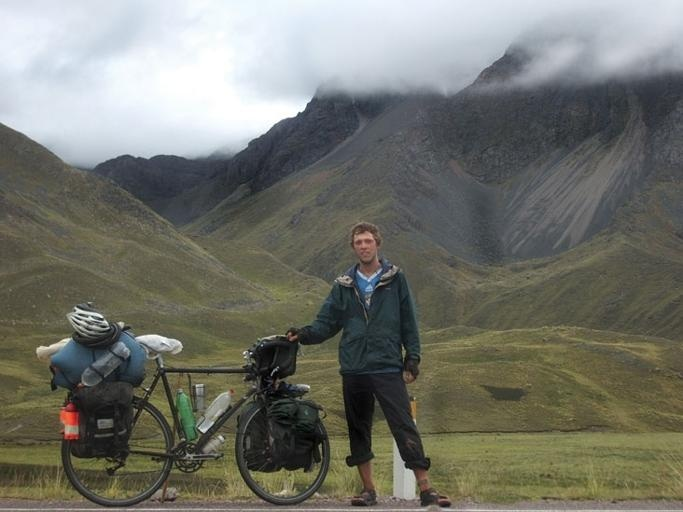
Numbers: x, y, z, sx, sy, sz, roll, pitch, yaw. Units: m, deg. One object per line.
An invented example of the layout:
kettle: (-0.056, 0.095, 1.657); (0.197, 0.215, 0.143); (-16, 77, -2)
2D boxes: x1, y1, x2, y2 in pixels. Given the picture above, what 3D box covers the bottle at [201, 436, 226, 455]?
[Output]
bottle: (-2.811, 4.237, 16.317); (0.278, 0.435, 0.493); (7, -1, 42)
